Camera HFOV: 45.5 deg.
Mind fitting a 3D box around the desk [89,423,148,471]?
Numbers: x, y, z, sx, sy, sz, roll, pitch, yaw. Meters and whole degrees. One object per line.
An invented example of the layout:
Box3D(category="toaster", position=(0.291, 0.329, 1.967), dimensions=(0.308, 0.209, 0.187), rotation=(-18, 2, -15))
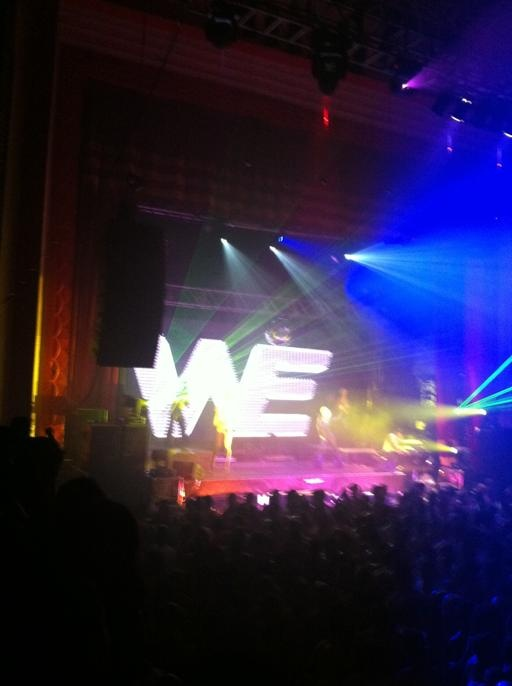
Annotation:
Box3D(category="desk", position=(-1.201, 0.905, 5.571), dimensions=(0.610, 0.605, 0.339), rotation=(5, -12, -21))
